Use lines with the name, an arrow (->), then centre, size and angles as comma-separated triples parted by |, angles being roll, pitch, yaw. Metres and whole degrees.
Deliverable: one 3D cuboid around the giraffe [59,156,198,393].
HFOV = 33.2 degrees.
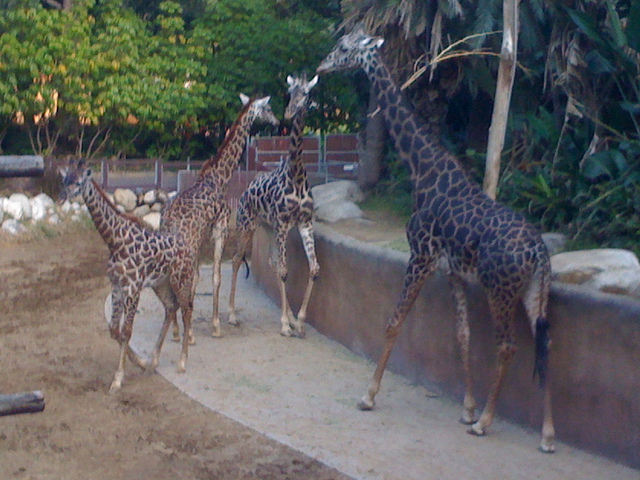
giraffe -> -2.671, 0.195, 15.566 | 1.720, 3.139, 2.513 | -1, 14, -8
